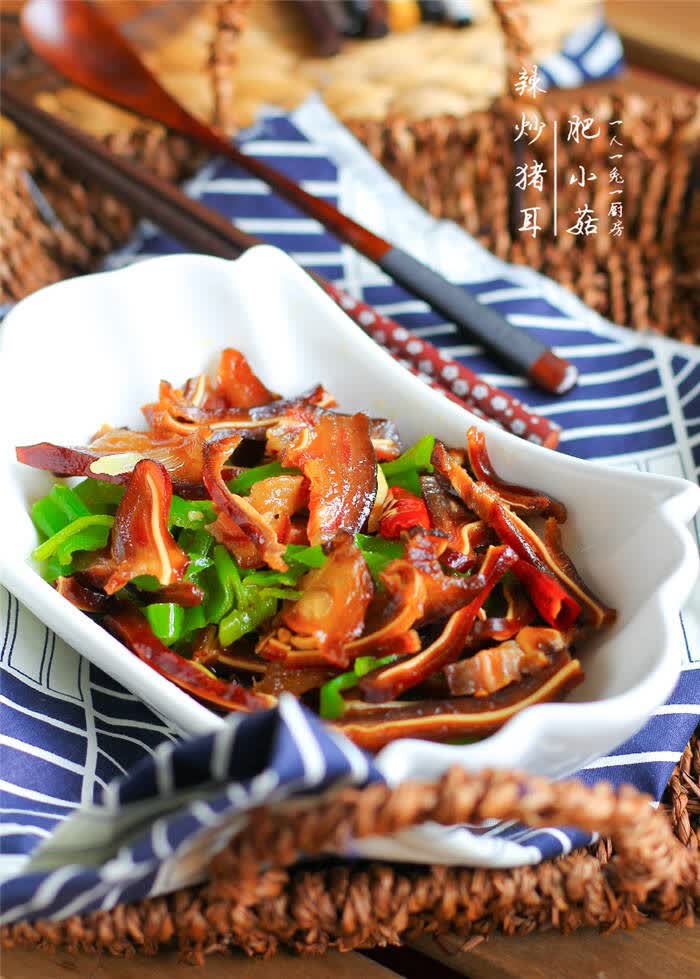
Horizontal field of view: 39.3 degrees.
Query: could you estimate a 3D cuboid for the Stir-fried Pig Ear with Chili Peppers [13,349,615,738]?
[{"bbox_3d":[-0.042,0.056,0.727,0.446,0.110,0.281,29,54,28],"label":"Stir-fried Pig Ear with Chili Peppers"}]
